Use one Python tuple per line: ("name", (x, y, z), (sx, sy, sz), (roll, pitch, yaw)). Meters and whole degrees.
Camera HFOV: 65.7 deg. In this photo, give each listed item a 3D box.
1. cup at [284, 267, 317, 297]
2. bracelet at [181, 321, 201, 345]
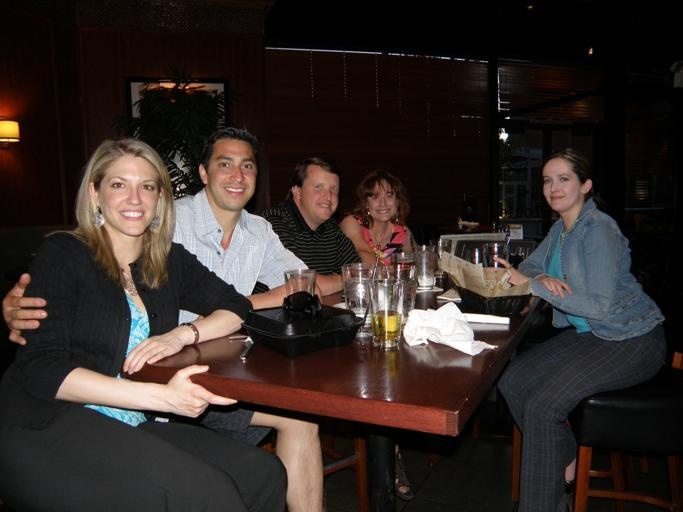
("cup", (-0.148, 0.100, 2.060), (0.099, 0.109, 0.106), (0, -2, 0))
("bracelet", (-0.540, 0.277, 1.883), (0.020, 0.067, 0.068), (-31, 37, -21))
